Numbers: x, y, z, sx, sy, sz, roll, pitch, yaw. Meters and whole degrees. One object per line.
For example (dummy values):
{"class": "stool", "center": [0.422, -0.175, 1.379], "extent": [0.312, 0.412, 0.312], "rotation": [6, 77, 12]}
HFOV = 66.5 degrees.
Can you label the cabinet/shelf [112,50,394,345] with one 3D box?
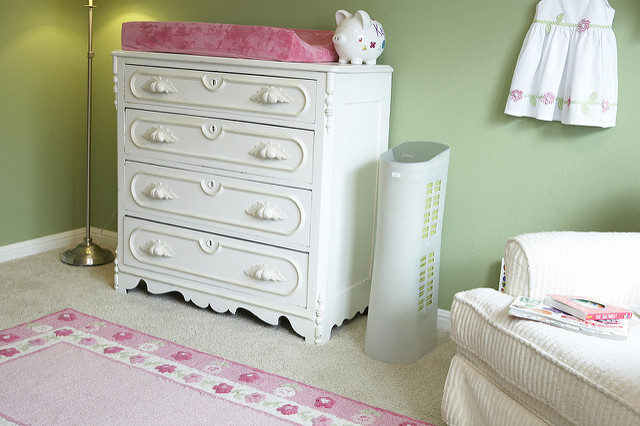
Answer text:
{"class": "cabinet/shelf", "center": [-0.310, -0.107, 2.689], "extent": [1.528, 1.445, 0.831], "rotation": [7, 12, 27]}
